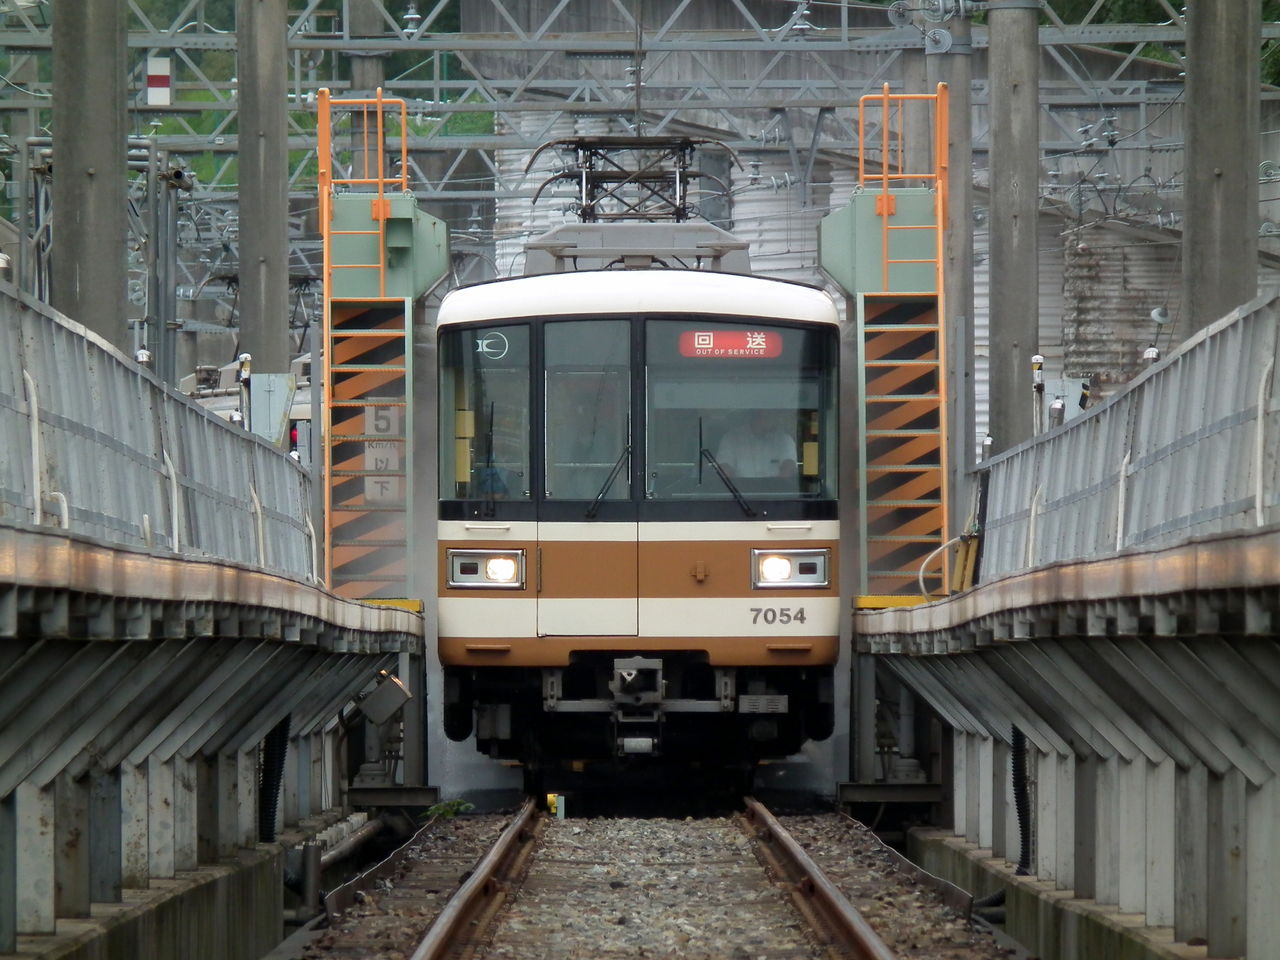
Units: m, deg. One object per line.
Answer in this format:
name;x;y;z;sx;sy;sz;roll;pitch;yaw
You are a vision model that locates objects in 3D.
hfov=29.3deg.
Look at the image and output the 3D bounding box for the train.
train;0.125;1.256;22.883;3.367;4.856;7.395;-1;-13;4
